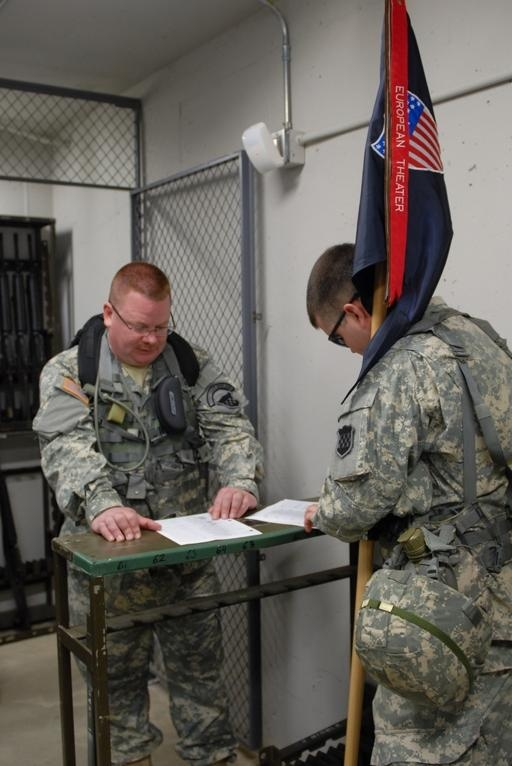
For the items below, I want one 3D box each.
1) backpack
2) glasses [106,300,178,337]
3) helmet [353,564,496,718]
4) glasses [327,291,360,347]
[{"bbox_3d":[-0.441,-0.150,2.324,0.258,0.146,0.343,-4,40,-21],"label":"backpack"},{"bbox_3d":[-0.369,-0.202,2.204,0.182,0.112,0.123,0,1,-5],"label":"glasses"},{"bbox_3d":[0.274,0.453,1.254,0.191,0.233,0.237,10,-17,1],"label":"helmet"},{"bbox_3d":[0.185,-0.138,1.548,0.027,0.090,0.088,21,12,15],"label":"glasses"}]
